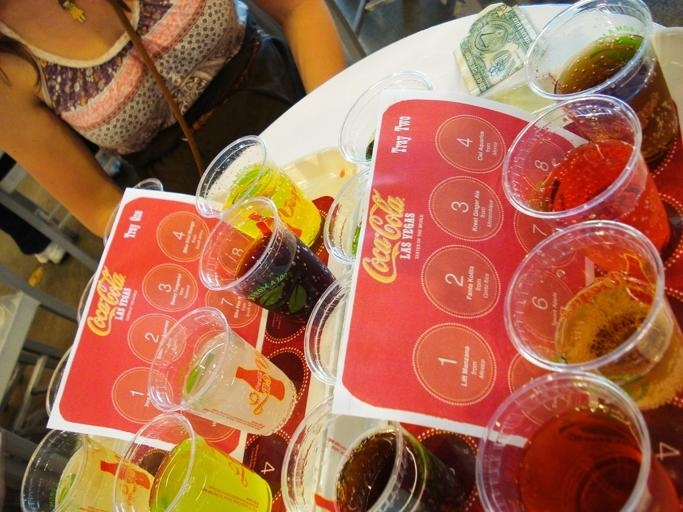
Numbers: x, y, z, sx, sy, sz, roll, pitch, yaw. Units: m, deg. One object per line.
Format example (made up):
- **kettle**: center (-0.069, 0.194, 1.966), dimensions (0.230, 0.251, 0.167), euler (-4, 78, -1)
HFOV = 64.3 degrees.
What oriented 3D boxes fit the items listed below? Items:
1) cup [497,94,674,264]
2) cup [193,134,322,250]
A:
- **cup**: center (0.404, -0.099, 0.929), dimensions (0.244, 0.194, 0.252), euler (-23, 48, 28)
- **cup**: center (-0.167, -0.129, 1.147), dimensions (0.146, 0.174, 0.144), euler (-19, 57, 31)
